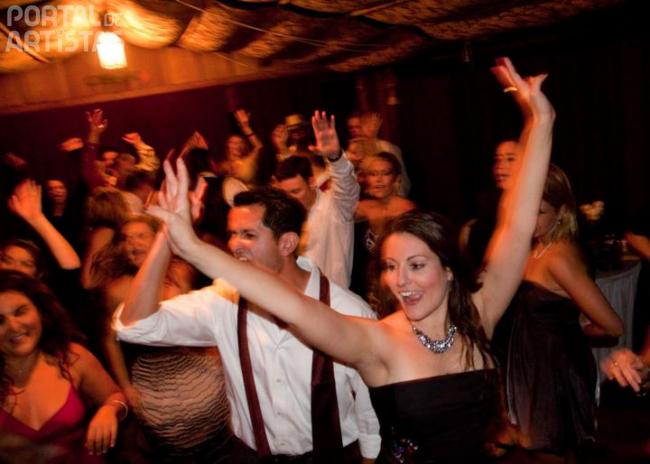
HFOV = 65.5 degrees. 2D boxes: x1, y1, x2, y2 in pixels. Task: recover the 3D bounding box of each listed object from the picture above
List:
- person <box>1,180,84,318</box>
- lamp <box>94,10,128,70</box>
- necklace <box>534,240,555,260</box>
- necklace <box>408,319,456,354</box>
[{"bbox_3d":[-2.143,0.116,3.943,0.294,0.952,0.949,-19,0,-31],"label":"person"},{"bbox_3d":[-1.719,-1.502,4.004,0.218,0.475,0.214,-9,5,-2],"label":"lamp"},{"bbox_3d":[1.522,0.137,3.553,0.092,0.049,0.130,-16,24,41],"label":"necklace"},{"bbox_3d":[0.569,0.590,2.758,0.121,0.248,0.221,-45,17,30],"label":"necklace"}]
